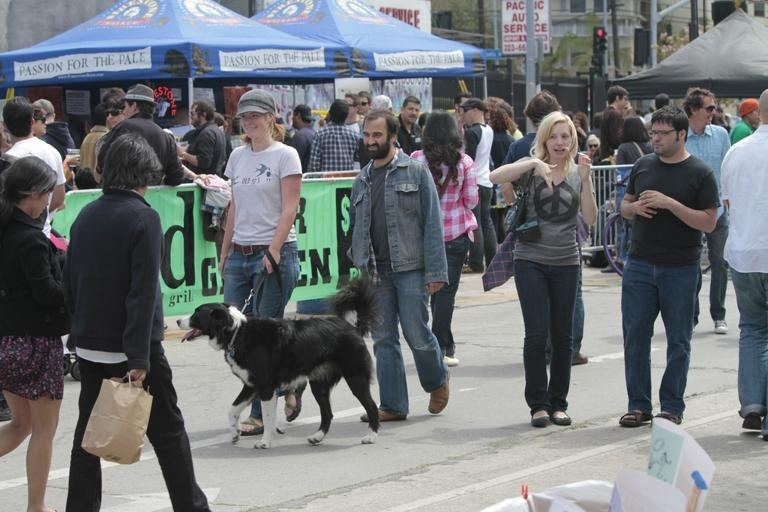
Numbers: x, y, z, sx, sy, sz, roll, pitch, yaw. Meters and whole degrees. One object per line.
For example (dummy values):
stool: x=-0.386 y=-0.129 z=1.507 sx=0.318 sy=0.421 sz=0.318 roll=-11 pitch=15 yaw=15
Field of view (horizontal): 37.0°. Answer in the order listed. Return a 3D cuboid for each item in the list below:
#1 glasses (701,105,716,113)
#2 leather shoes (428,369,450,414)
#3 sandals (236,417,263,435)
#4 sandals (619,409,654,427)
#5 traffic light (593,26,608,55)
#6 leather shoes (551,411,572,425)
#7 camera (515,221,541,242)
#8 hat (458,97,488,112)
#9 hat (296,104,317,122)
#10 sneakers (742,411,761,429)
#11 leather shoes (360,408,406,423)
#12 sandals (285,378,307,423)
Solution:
glasses: x=4.178 y=-1.923 z=14.877 sx=0.172 sy=0.057 sz=0.178 roll=-2 pitch=4 yaw=-28
leather shoes: x=0.525 y=1.333 z=11.373 sx=0.160 sy=0.458 sz=0.194 roll=15 pitch=8 yaw=39
sandals: x=-1.268 y=1.579 z=10.783 sx=0.212 sy=0.130 sz=0.404 roll=0 pitch=4 yaw=-1
sandals: x=2.446 y=1.508 z=10.879 sx=0.430 sy=0.156 sz=0.156 roll=2 pitch=-1 yaw=-29
traffic light: x=6.641 y=-6.660 z=35.314 sx=0.354 sy=0.727 sz=0.709 roll=1 pitch=10 yaw=6
leather shoes: x=1.685 y=1.521 z=10.904 sx=0.088 sy=0.092 sz=0.234 roll=0 pitch=-8 yaw=-6
camera: x=1.384 y=-0.254 z=10.964 sx=0.166 sy=0.162 sz=0.087 roll=-14 pitch=-6 yaw=24
hat: x=1.276 y=-2.171 z=16.425 sx=0.360 sy=0.186 sz=0.256 roll=10 pitch=4 yaw=3
hat: x=-1.274 y=-2.333 z=18.317 sx=0.227 sy=0.305 sz=0.283 roll=0 pitch=-17 yaw=-6
sneakers: x=3.427 y=1.502 z=10.674 sx=0.101 sy=0.131 sz=0.193 roll=5 pitch=9 yaw=32
leather shoes: x=-0.041 y=1.533 z=11.153 sx=0.478 sy=0.201 sz=0.162 roll=3 pitch=0 yaw=-6
sandals: x=-0.858 y=1.321 z=10.984 sx=0.223 sy=0.563 sz=0.176 roll=-1 pitch=26 yaw=-12
